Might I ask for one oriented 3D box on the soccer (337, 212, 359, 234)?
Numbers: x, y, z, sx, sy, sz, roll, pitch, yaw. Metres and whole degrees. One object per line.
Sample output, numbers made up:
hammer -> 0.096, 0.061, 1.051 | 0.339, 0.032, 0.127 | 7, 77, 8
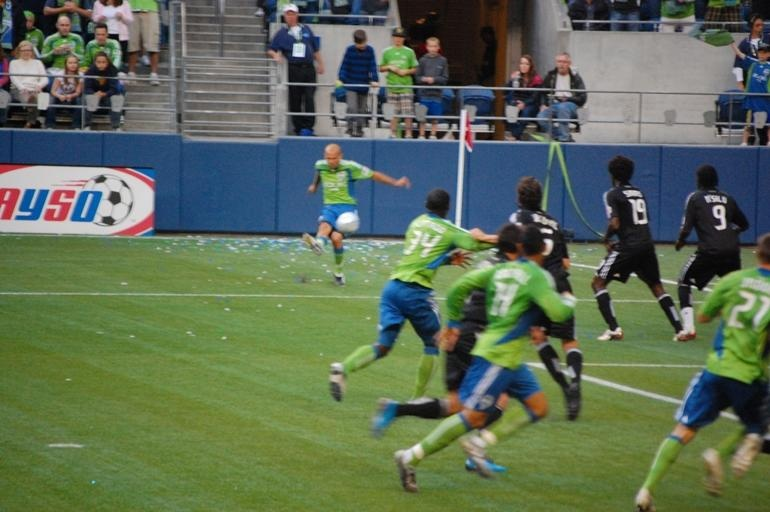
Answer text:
soccer -> -0.648, -0.621, 21.723 | 0.366, 0.360, 0.443 | 12, 23, 13

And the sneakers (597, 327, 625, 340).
sneakers -> 3.629, 1.301, 19.355 | 0.509, 0.184, 0.173 | -3, 2, 5

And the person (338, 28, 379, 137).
person -> -0.640, -3.947, 27.000 | 0.862, 2.367, 1.036 | 2, 6, -3

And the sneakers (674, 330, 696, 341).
sneakers -> 4.828, 1.326, 19.389 | 0.314, 0.116, 0.159 | -7, 5, 4

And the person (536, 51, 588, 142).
person -> 3.984, -3.685, 27.255 | 1.027, 2.027, 1.094 | 4, 6, 14

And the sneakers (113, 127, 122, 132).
sneakers -> -6.053, -2.915, 26.956 | 0.233, 0.105, 0.692 | 1, 6, -13

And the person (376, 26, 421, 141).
person -> 0.257, -3.984, 27.017 | 0.810, 2.503, 1.023 | 2, 6, 0

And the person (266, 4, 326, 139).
person -> -2.066, -4.331, 27.377 | 1.179, 3.008, 1.456 | 2, 6, -1
